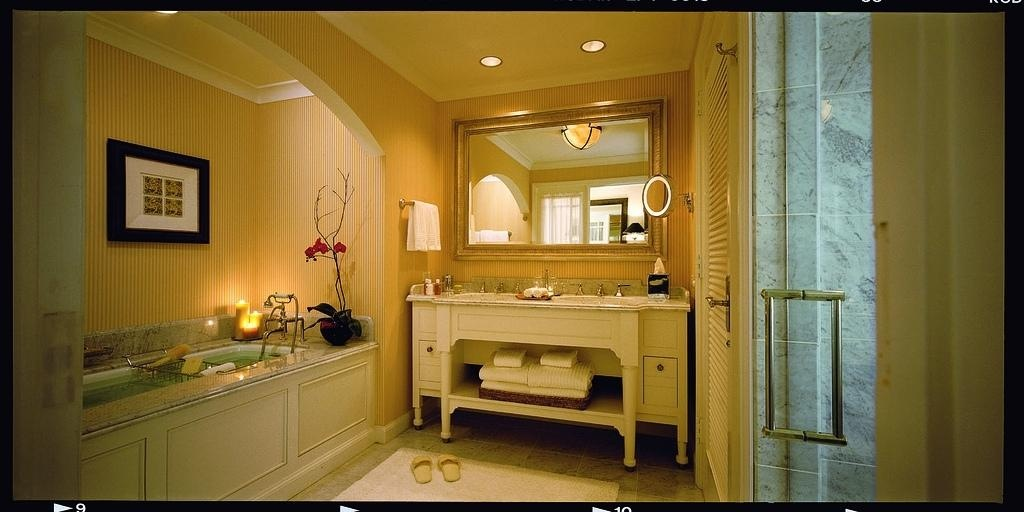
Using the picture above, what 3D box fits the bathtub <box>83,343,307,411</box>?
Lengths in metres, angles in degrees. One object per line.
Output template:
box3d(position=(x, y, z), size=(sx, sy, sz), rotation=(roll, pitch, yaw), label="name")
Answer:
box3d(position=(-2.094, 0.813, 4.239), size=(1.514, 0.326, 1.015), rotation=(-1, -2, -38), label="bathtub")

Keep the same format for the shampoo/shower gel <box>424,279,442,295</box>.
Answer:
box3d(position=(-0.664, 0.252, 5.080), size=(0.141, 0.151, 0.182), rotation=(0, 0, 22), label="shampoo/shower gel")

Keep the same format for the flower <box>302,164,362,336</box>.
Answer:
box3d(position=(-1.474, 0.001, 4.778), size=(0.551, 1.341, 0.312), rotation=(-4, -2, 33), label="flower")

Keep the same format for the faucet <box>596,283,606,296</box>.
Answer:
box3d(position=(0.718, 0.272, 4.952), size=(0.089, 0.071, 0.129), rotation=(0, 31, 7), label="faucet")

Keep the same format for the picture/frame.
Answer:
box3d(position=(-2.586, -0.431, 4.577), size=(0.832, 0.664, 0.041), rotation=(9, 14, 13), label="picture/frame")

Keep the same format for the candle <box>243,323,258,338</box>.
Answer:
box3d(position=(-2.057, 0.603, 4.862), size=(0.106, 0.093, 0.096), rotation=(0, -4, 15), label="candle")

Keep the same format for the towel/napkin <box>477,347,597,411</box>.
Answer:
box3d(position=(0.184, 0.908, 4.618), size=(0.687, 0.191, 0.447), rotation=(0, 0, 12), label="towel/napkin")

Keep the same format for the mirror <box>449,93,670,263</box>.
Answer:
box3d(position=(0.464, -0.633, 5.030), size=(1.816, 1.014, 0.133), rotation=(-1, -2, 12), label="mirror")

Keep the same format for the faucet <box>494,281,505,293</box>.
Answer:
box3d(position=(-0.100, 0.266, 5.201), size=(0.115, 0.096, 0.061), rotation=(2, -2, 5), label="faucet")

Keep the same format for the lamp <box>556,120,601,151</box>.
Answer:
box3d(position=(0.560, -0.969, 5.016), size=(0.281, 0.161, 0.249), rotation=(1, 3, 8), label="lamp")

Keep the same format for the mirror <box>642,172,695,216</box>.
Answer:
box3d(position=(1.055, -0.426, 4.474), size=(0.186, 0.262, 0.357), rotation=(-3, -2, 6), label="mirror")

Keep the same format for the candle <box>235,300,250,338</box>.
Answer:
box3d(position=(-2.151, 0.508, 4.889), size=(0.126, 0.281, 0.110), rotation=(-3, -1, -14), label="candle")

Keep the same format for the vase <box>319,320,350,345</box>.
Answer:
box3d(position=(-1.303, 0.576, 4.640), size=(0.223, 0.130, 0.205), rotation=(3, -8, 21), label="vase")

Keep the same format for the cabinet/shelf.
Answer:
box3d(position=(0.294, 0.895, 4.653), size=(2.082, 1.013, 0.436), rotation=(-3, -1, 16), label="cabinet/shelf")
